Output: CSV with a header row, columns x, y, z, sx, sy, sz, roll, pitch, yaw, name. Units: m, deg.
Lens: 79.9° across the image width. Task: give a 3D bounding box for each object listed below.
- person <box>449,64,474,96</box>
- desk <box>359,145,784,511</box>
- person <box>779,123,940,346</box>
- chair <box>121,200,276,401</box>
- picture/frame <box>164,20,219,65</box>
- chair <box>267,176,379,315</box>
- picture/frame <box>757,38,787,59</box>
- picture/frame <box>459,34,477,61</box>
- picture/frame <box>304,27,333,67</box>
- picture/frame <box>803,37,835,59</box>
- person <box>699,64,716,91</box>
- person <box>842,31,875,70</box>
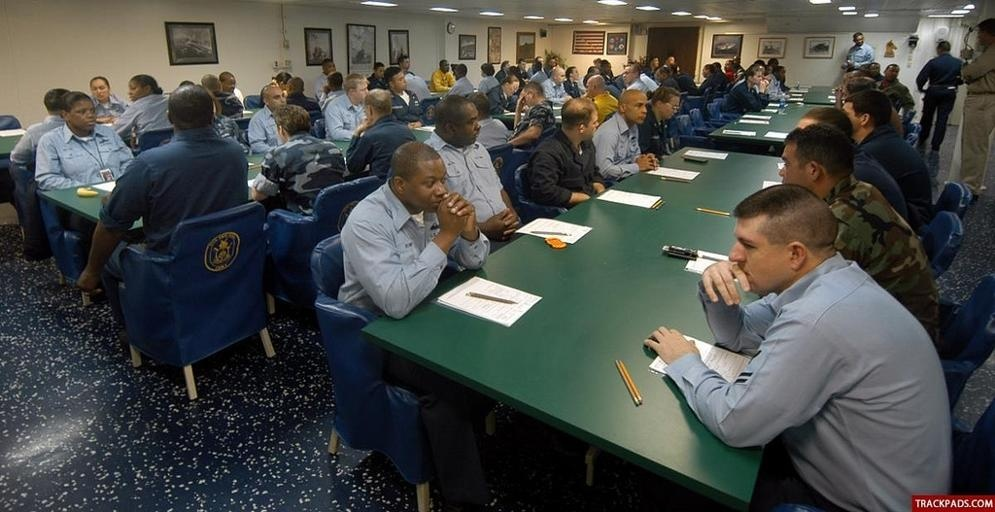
x,y,z,sx,sy,sz,roll,pitch,yaw,name
-0.658,-3.264,11.138,0.406,0.565,0.753,8,18,30,person
0.483,0.611,4.249,1.509,0.725,3.171,22,47,32,desk
3.587,-0.528,6.017,1.347,2.153,0.998,12,26,12,person
-2.510,0.358,4.959,1.229,1.525,0.590,-7,24,-20,chair
-5.785,-3.959,11.086,0.102,0.746,1.010,11,19,36,picture/frame
-1.434,-0.085,4.873,0.719,1.078,0.906,32,39,27,chair
7.919,-5.906,17.027,0.130,0.546,0.841,-12,24,-27,picture/frame
-0.836,-5.729,16.390,0.031,0.545,0.846,12,17,26,picture/frame
-3.945,-4.568,13.079,0.172,0.774,0.764,14,25,28,picture/frame
8.853,-5.643,16.184,0.700,0.519,0.054,13,33,38,picture/frame
4.747,-3.939,13.301,0.252,0.549,1.583,8,21,18,person
9.150,-5.086,14.838,0.651,0.890,2.296,12,23,26,person
